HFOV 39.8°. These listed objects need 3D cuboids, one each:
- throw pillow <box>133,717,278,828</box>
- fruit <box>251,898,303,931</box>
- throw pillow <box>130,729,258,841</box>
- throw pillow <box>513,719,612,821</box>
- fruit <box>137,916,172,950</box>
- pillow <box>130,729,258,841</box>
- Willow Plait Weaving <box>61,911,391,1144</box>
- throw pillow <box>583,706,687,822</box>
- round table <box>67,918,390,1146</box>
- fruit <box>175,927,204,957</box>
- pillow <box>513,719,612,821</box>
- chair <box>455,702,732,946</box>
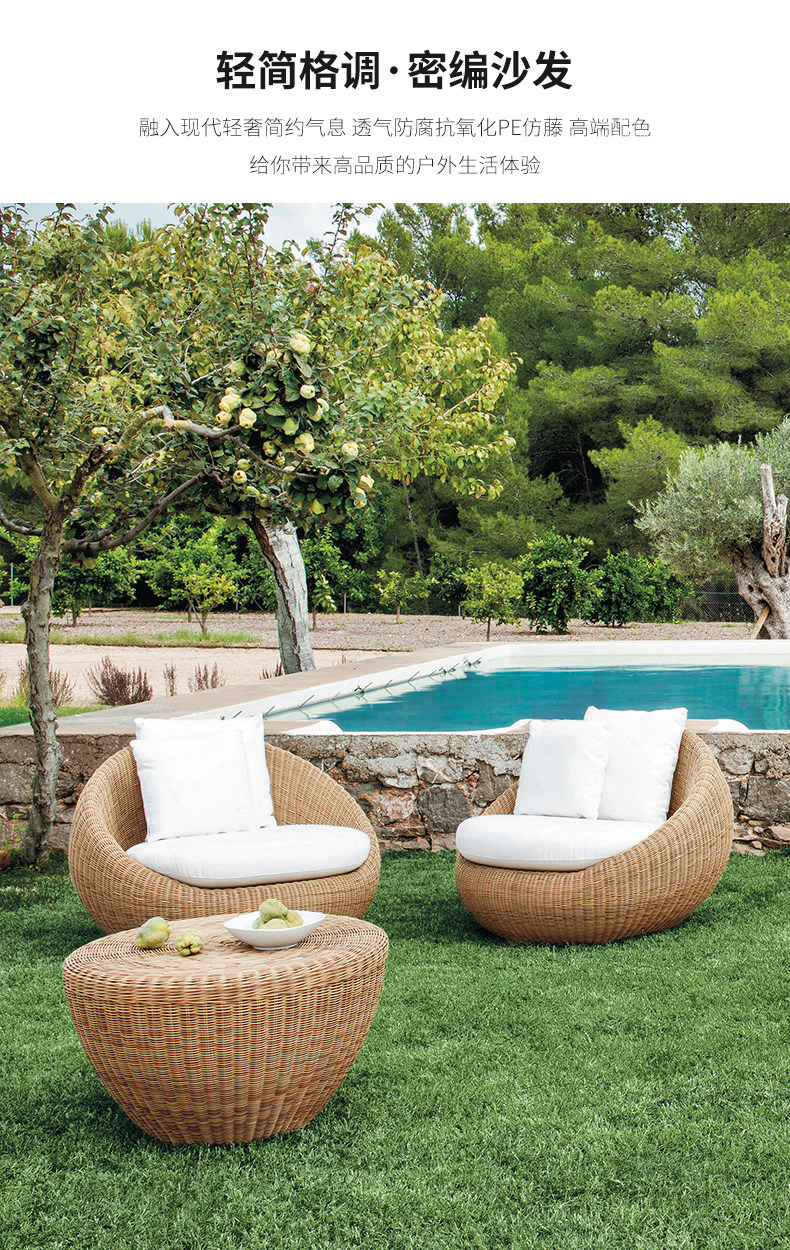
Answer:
[{"bbox_3d":[-0.740,0.565,4.259,0.496,0.456,0.151,4,-23,-25],"label":"throw pillow"},{"bbox_3d":[-0.286,0.703,2.626,0.082,0.065,0.040,4,-4,7],"label":"fruit"},{"bbox_3d":[-0.743,0.598,4.228,0.442,0.395,0.128,-1,-17,-25],"label":"throw pillow"},{"bbox_3d":[0.678,0.577,4.302,0.126,0.376,0.345,27,-17,-38],"label":"throw pillow"},{"bbox_3d":[-0.594,0.758,2.691,0.082,0.063,0.063,-20,0,-4],"label":"fruit"},{"bbox_3d":[-0.754,0.597,4.228,0.442,0.395,0.128,-1,-17,-25],"label":"pillow"},{"bbox_3d":[-0.376,0.980,2.650,0.733,0.434,0.803,-6,-5,31],"label":"Willow Plait Weaving"},{"bbox_3d":[0.948,0.527,4.239,0.393,0.408,0.151,-4,-24,32],"label":"throw pillow"},{"bbox_3d":[-0.339,0.848,2.454,0.515,0.282,0.542,-3,-5,0],"label":"round table"},{"bbox_3d":[-0.477,0.742,2.548,0.047,0.051,0.063,-15,3,0],"label":"fruit"},{"bbox_3d":[0.678,0.577,4.302,0.126,0.376,0.345,27,-17,-38],"label":"pillow"},{"bbox_3d":[0.795,0.803,4.460,1.166,0.840,1.313,0,-2,36],"label":"chair"}]
